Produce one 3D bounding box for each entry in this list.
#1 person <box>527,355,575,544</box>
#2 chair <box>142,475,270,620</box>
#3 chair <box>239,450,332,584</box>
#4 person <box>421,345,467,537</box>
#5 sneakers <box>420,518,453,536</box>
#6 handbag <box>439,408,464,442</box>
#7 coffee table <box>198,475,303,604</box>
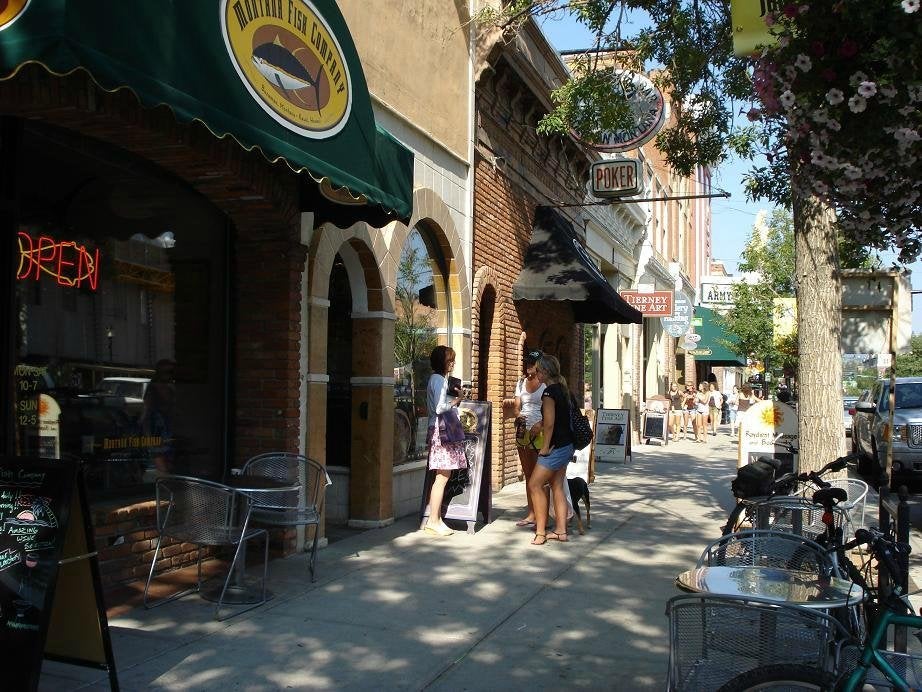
[{"bbox_3d":[1.060,1.161,9.689,0.483,2.150,0.806,2,0,5],"label":"person"},{"bbox_3d":[-2.127,1.552,7.015,0.808,1.168,0.853,3,9,-13],"label":"chair"},{"bbox_3d":[-1.686,1.640,8.039,0.841,1.177,0.937,-6,-16,21],"label":"chair"},{"bbox_3d":[-0.191,1.104,9.986,0.504,2.170,0.519,2,0,-3],"label":"person"},{"bbox_3d":[-0.302,2.149,9.964,0.302,0.141,0.194,-1,-1,31],"label":"sneakers"},{"bbox_3d":[-0.128,0.915,9.790,0.145,0.524,0.332,-3,1,35],"label":"handbag"},{"bbox_3d":[-1.732,1.598,7.170,0.902,1.145,0.949,5,0,-3],"label":"coffee table"}]
